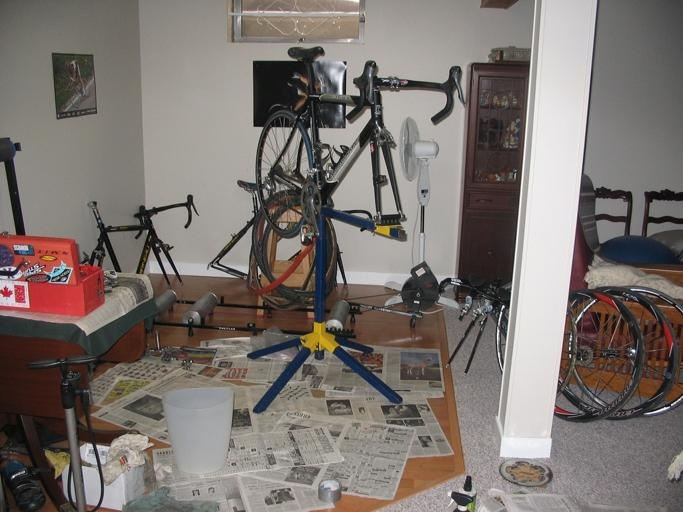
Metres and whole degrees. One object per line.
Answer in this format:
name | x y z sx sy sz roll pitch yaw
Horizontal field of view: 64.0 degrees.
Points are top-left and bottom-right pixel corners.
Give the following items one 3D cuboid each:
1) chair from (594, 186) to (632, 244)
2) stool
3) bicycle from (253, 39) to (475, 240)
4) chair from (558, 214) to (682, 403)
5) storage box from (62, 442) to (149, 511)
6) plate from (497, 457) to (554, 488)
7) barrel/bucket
chair | 2.730 -0.434 5.496 0.355 0.684 0.382 11 32 31
stool | -0.575 0.048 5.068 0.611 0.969 0.205 0 1 35
bicycle | -0.095 -0.783 4.219 1.780 1.471 0.853 15 18 40
chair | 2.111 0.209 4.079 0.908 1.636 0.838 4 16 27
storage box | -1.234 1.191 2.840 0.198 0.379 0.348 1 -2 -5
plate | 1.055 1.251 3.140 0.296 0.038 0.221 4 14 20
barrel/bucket | -0.842 0.950 3.232 0.376 0.446 0.434 -2 9 -31
